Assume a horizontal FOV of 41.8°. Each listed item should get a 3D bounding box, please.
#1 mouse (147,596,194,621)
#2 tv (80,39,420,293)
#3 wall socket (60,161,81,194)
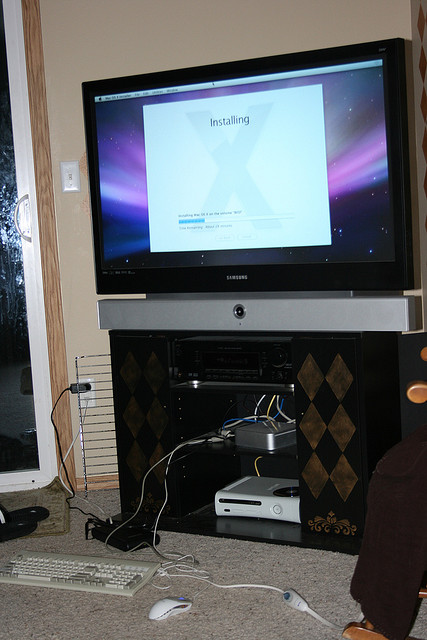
[{"bbox_3d":[-0.103,0.645,1.255,0.096,0.033,0.051,5,-7,-44],"label":"mouse"},{"bbox_3d":[0.125,-0.460,1.770,0.850,0.612,0.089,-1,4,22],"label":"tv"},{"bbox_3d":[-0.605,-0.607,2.361,0.077,0.124,0.118,-1,9,-1],"label":"wall socket"}]
